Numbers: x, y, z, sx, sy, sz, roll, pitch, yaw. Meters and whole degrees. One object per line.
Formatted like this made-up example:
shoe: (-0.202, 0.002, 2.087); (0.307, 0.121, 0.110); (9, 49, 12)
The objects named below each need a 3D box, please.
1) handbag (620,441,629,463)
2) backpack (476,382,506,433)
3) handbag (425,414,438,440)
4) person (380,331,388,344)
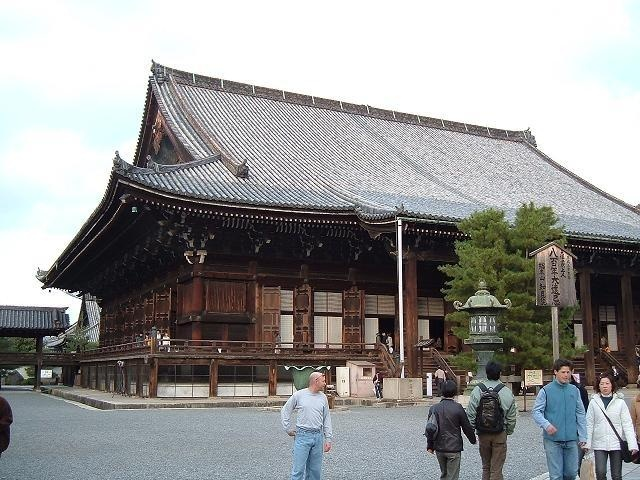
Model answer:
handbag: (4.805, 3.304, 10.754); (0.125, 0.344, 0.272); (-15, -23, 19)
backpack: (2.629, 2.598, 10.589); (0.483, 0.766, 0.275); (-4, -13, 13)
handbag: (1.699, 2.816, 10.370); (0.190, 0.386, 0.140); (-11, -17, 37)
person: (3.097, 4.775, 33.424); (0.390, 0.778, 0.406); (1, -3, 18)
